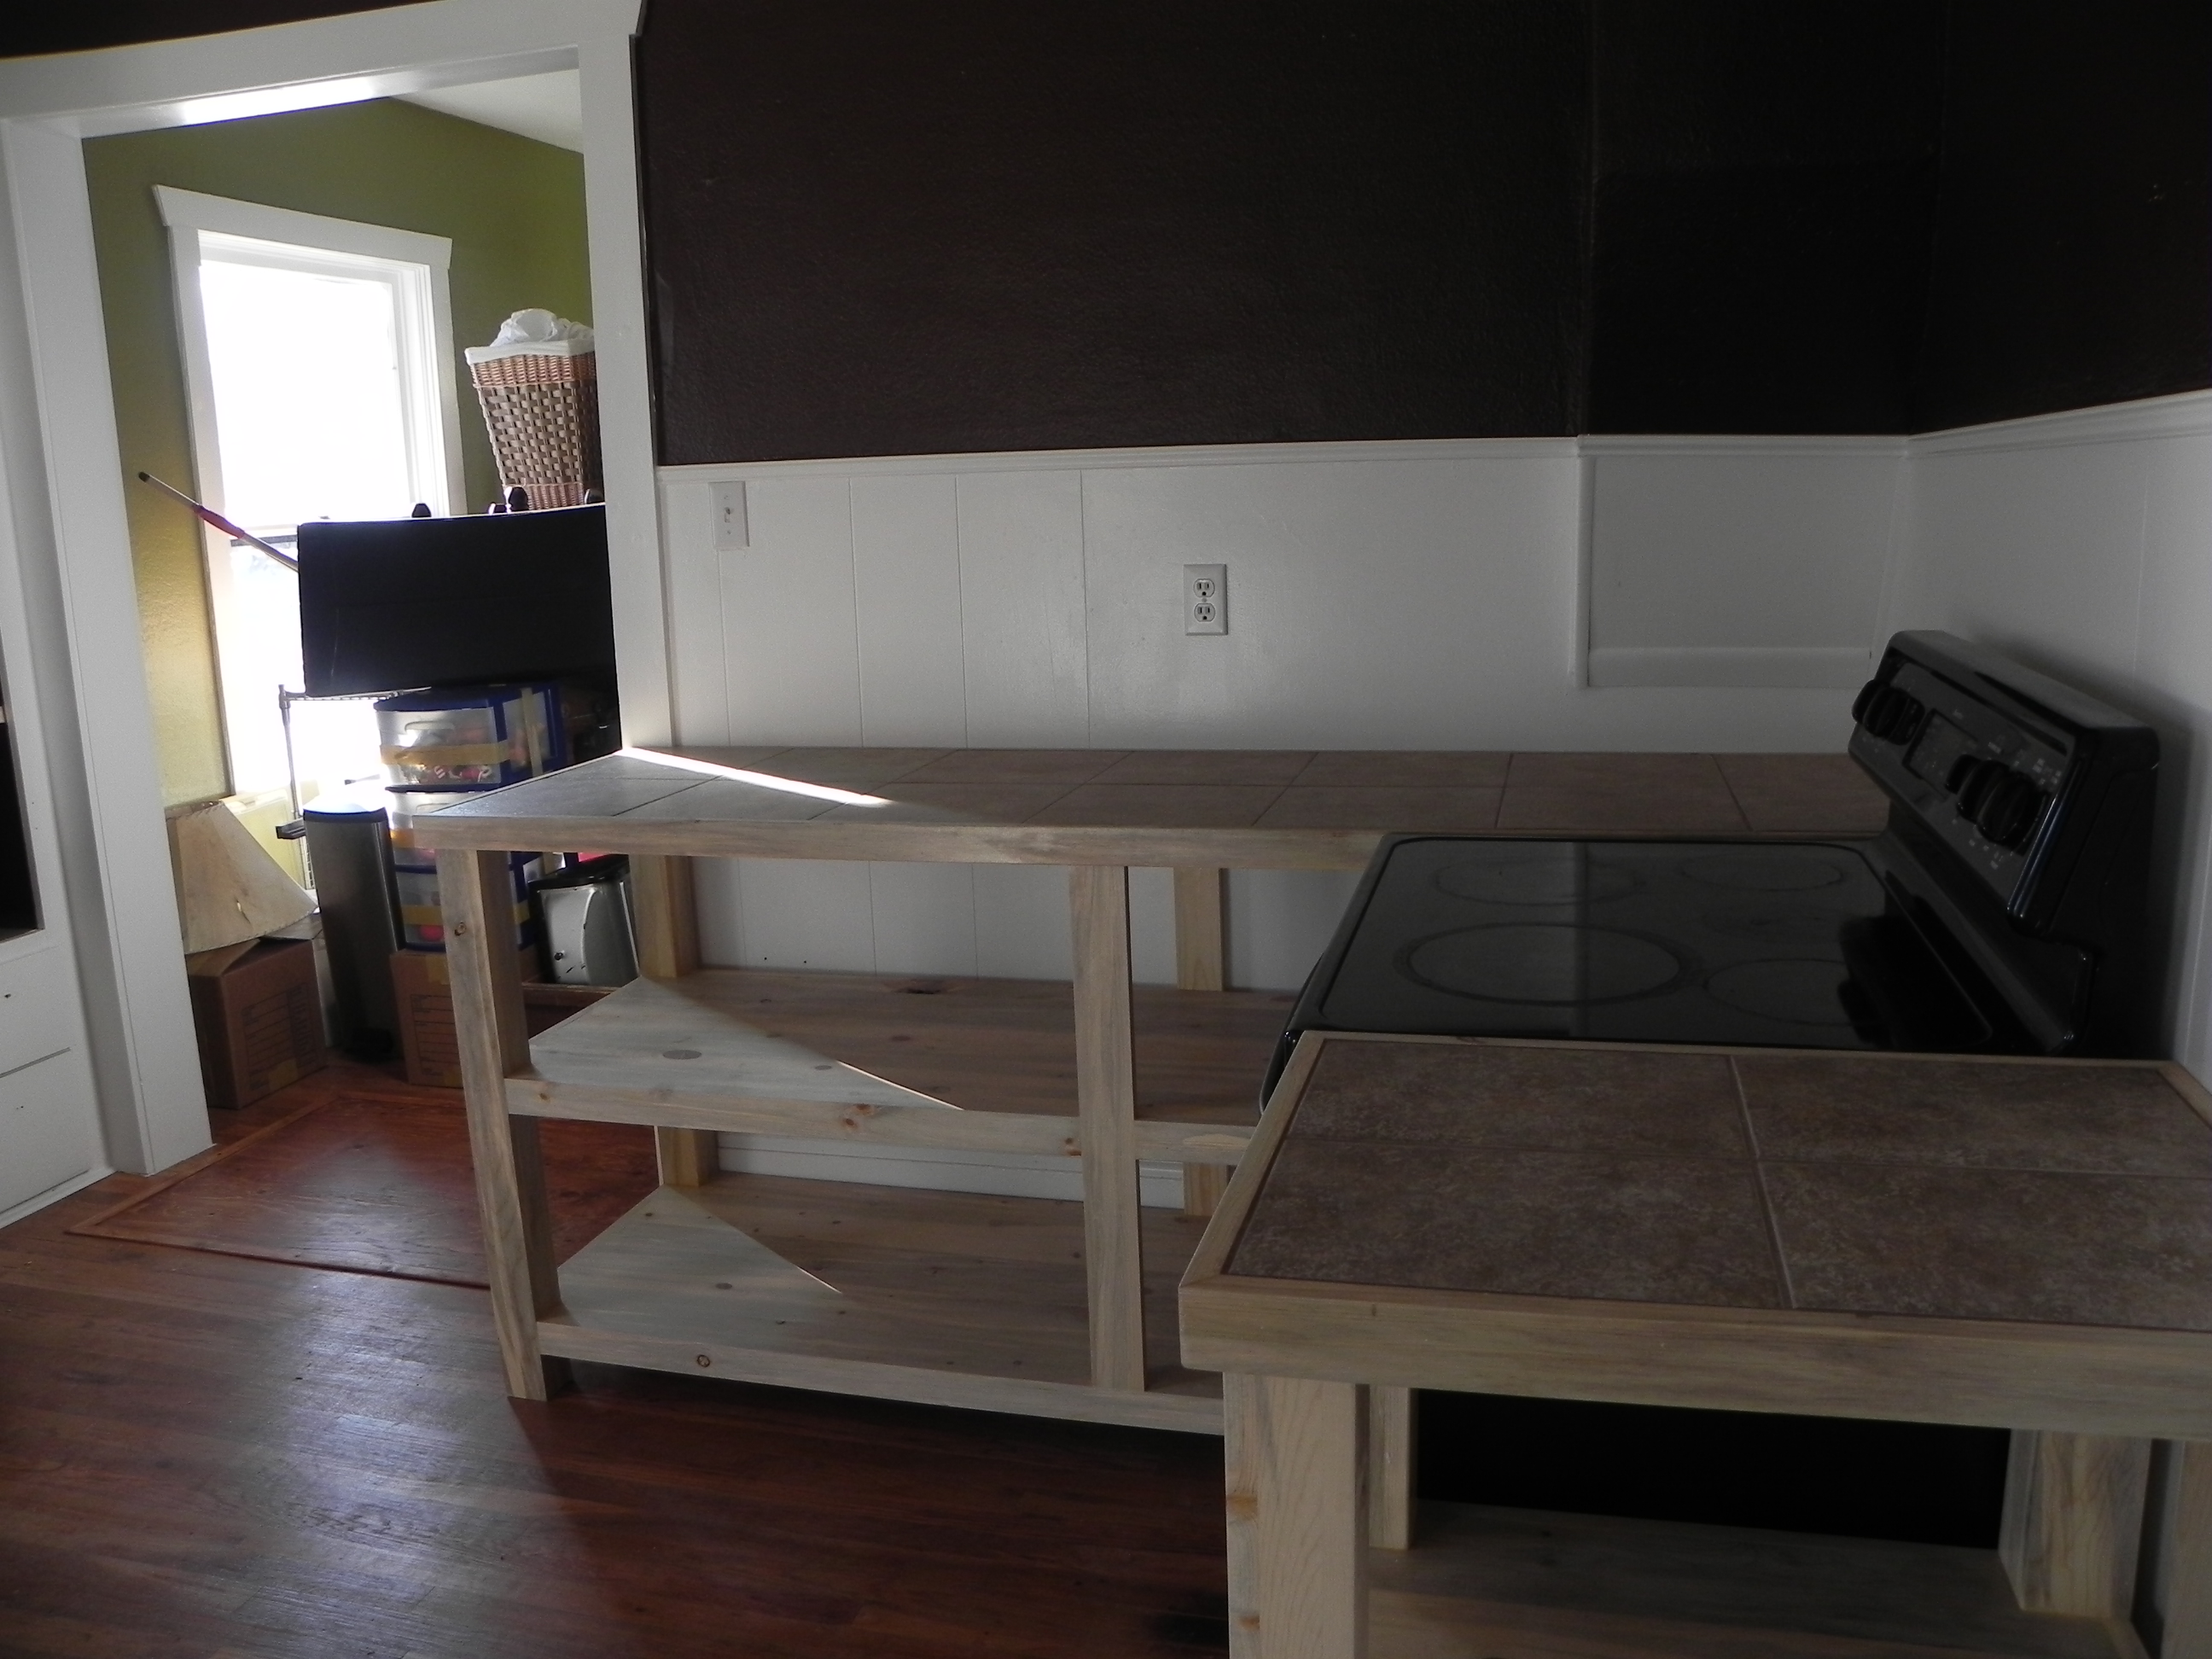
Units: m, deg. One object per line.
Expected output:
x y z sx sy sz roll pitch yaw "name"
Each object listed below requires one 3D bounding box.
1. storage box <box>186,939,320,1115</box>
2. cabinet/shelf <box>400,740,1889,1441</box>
-2.091 0.494 3.935 0.226 0.346 0.401 -4 5 9 "storage box"
0.105 0.425 2.499 2.214 1.028 0.600 2 14 17 "cabinet/shelf"
